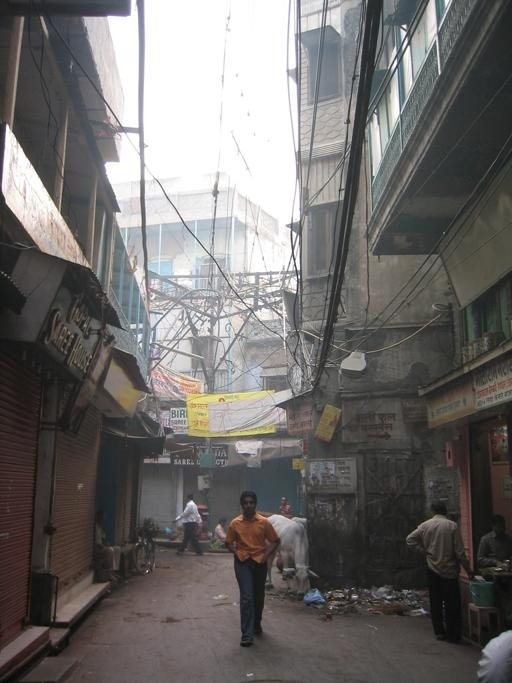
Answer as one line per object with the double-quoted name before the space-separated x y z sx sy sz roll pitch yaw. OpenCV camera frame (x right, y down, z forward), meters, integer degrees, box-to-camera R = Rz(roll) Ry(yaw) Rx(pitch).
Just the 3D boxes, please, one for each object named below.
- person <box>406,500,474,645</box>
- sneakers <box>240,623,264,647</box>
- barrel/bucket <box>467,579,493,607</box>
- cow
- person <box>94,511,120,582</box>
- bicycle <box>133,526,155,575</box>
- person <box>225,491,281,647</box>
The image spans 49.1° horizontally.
"person" 2.108 2.599 6.389 0.349 1.485 0.667 8 -19 -27
"sneakers" -0.049 2.949 5.583 0.120 0.226 0.485 2 -29 7
"barrel/bucket" 2.369 2.641 5.883 0.200 0.200 0.217 -2 -10 0
"cow" 0.479 4.218 10.531 0.695 1.414 2.556 4 -36 -1
"person" -2.643 3.729 10.054 0.406 1.141 1.440 2 -20 -7
"bicycle" -2.688 4.837 12.797 0.550 0.895 1.323 -3 -22 2
"person" -0.047 2.360 5.899 0.553 1.490 0.860 -2 -18 5
